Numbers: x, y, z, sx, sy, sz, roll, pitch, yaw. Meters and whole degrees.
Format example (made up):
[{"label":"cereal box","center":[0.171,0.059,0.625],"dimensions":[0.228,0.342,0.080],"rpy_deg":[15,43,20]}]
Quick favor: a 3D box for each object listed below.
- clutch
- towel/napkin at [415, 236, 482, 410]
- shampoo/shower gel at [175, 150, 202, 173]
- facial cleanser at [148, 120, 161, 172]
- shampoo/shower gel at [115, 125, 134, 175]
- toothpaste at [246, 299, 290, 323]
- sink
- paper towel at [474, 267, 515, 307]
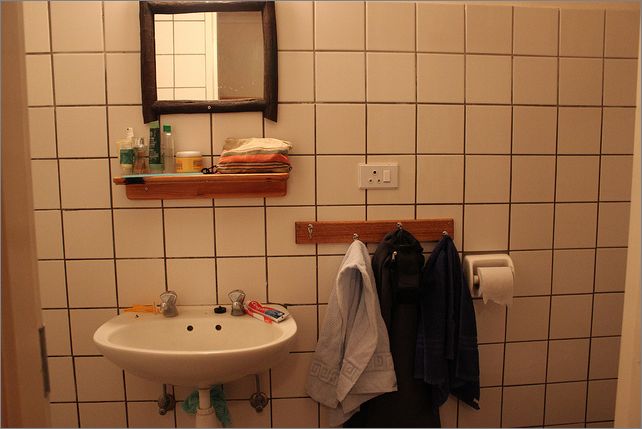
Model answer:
[{"label":"clutch","center":[-0.308,-0.266,2.772],"dimensions":[0.338,0.163,0.150],"rpy_deg":[-3,9,-4]},{"label":"towel/napkin","center":[0.579,0.523,2.824],"dimensions":[0.300,0.813,0.202],"rpy_deg":[-2,9,4]},{"label":"shampoo/shower gel","center":[-0.604,-0.233,2.767],"dimensions":[0.095,0.085,0.096],"rpy_deg":[2,3,42]},{"label":"facial cleanser","center":[-0.769,-0.307,2.793],"dimensions":[0.062,0.239,0.072],"rpy_deg":[-5,9,-15]},{"label":"shampoo/shower gel","center":[-0.894,-0.288,2.776],"dimensions":[0.074,0.214,0.128],"rpy_deg":[-5,9,-16]},{"label":"toothpaste","center":[-0.254,0.455,2.790],"dimensions":[0.158,0.035,0.090],"rpy_deg":[15,15,29]},{"label":"sink","center":[-0.547,0.623,2.702],"dimensions":[0.879,0.314,0.389],"rpy_deg":[-3,9,-2]},{"label":"paper towel","center":[0.808,0.309,2.868],"dimensions":[0.262,0.221,0.113],"rpy_deg":[0,4,-11]}]
